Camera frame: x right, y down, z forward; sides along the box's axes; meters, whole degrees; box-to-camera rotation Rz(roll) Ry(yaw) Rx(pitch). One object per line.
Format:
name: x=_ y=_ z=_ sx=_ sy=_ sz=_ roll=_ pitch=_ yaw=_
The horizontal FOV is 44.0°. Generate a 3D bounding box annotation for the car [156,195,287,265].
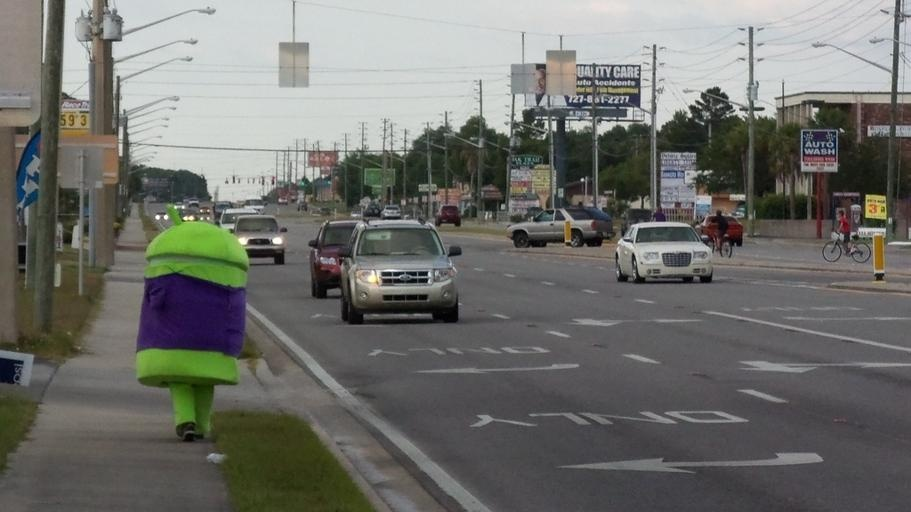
car: x=-8.463 y=-1.021 z=47.698 sx=2.670 sy=2.638 sz=7.072 roll=0 pitch=1 yaw=-17

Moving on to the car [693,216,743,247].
car: x=12.781 y=-1.184 z=54.394 sx=1.827 sy=1.449 sz=3.941 roll=-1 pitch=4 yaw=3

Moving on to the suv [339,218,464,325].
suv: x=-2.570 y=0.361 z=25.857 sx=2.477 sy=2.422 sz=6.193 roll=0 pitch=-1 yaw=-15
